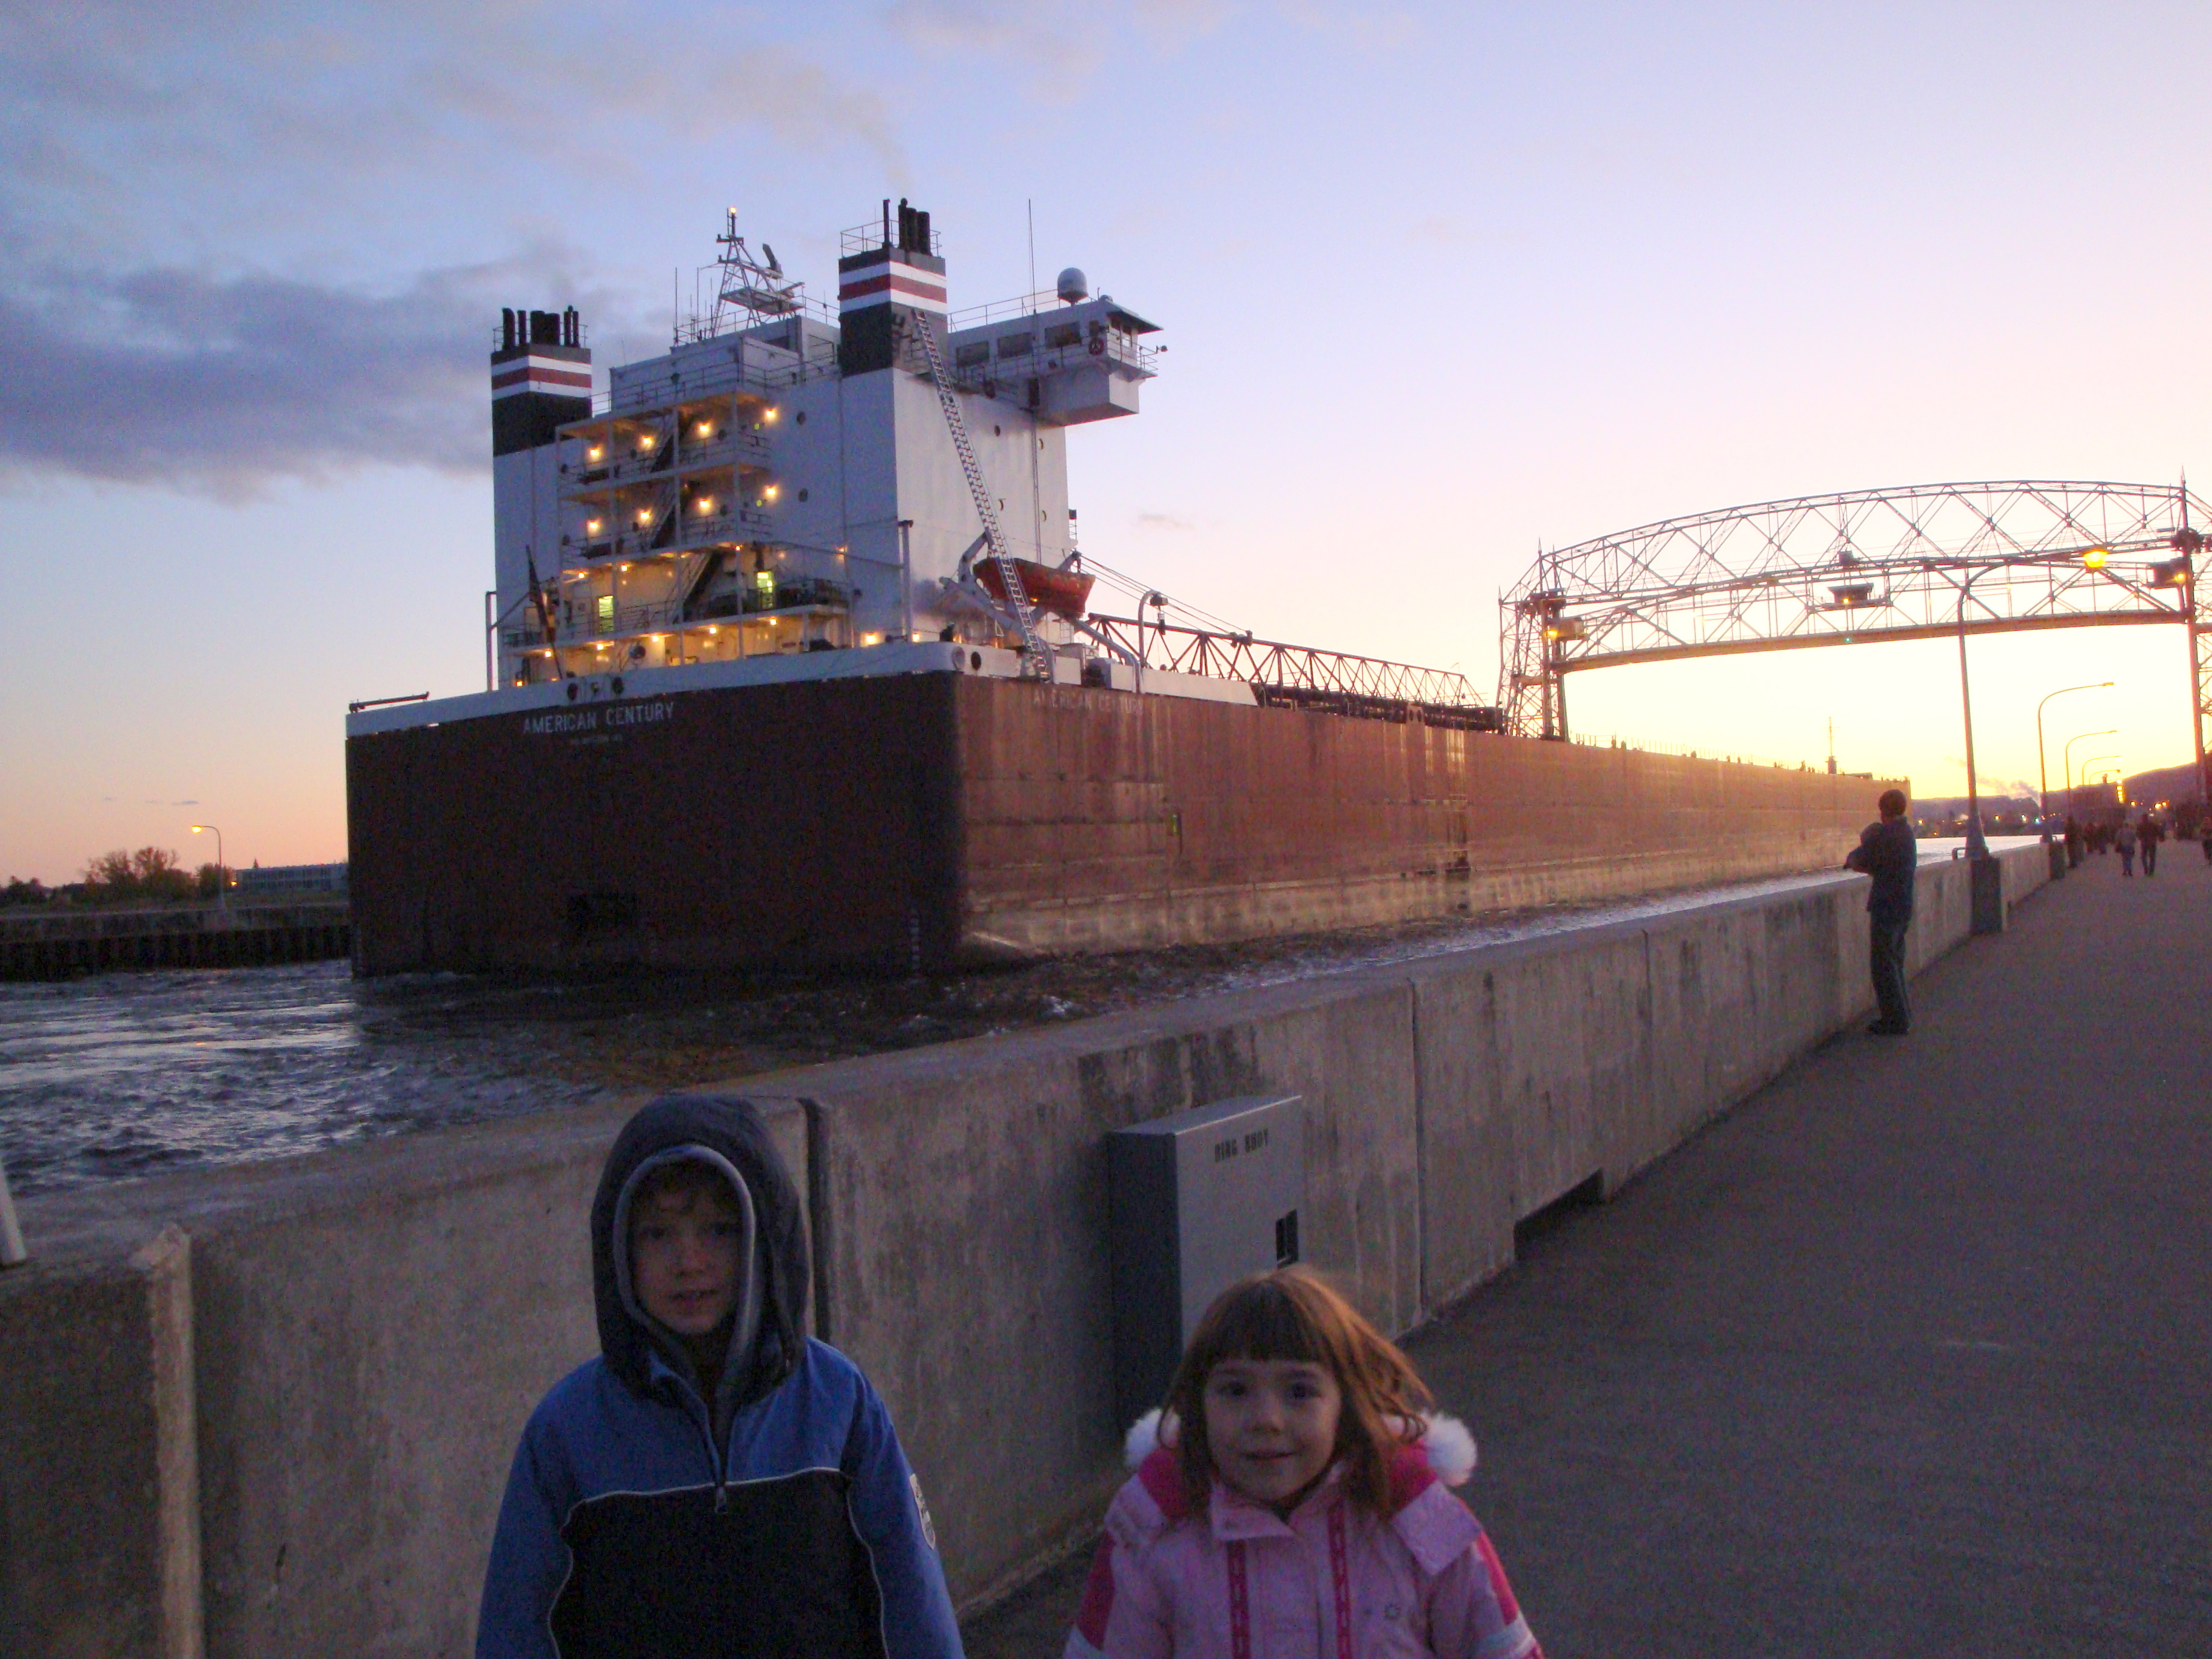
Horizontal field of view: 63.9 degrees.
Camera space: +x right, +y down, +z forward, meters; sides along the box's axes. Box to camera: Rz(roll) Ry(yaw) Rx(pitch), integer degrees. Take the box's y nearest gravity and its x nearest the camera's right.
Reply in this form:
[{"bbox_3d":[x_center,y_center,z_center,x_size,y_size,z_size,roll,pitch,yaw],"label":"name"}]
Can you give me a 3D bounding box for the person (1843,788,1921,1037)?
[{"bbox_3d":[5.451,0.584,12.449,0.400,1.761,1.670,-2,2,23],"label":"person"}]
